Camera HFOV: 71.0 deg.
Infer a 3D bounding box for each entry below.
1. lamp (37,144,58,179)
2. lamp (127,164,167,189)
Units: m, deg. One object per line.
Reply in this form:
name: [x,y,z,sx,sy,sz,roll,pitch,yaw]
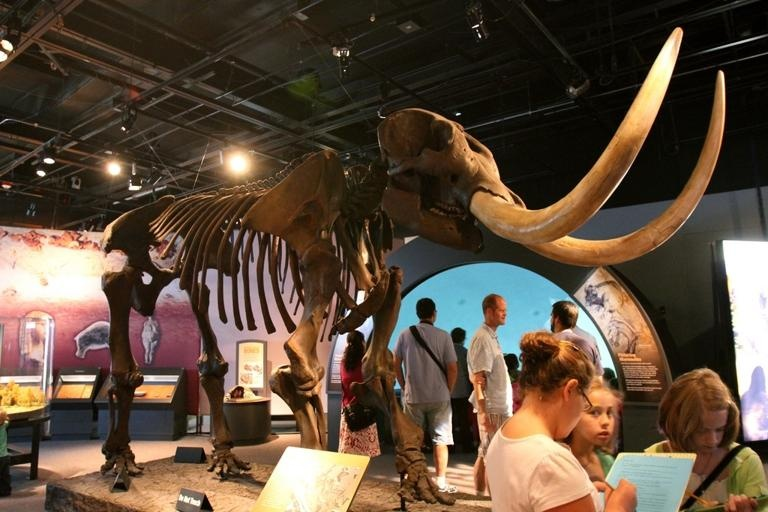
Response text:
lamp: [-6.777,-1.935,10.847,0.142,0.492,0.190,27,22,-17]
lamp: [-5.099,-1.669,11.331,1.212,0.742,0.468,9,10,42]
